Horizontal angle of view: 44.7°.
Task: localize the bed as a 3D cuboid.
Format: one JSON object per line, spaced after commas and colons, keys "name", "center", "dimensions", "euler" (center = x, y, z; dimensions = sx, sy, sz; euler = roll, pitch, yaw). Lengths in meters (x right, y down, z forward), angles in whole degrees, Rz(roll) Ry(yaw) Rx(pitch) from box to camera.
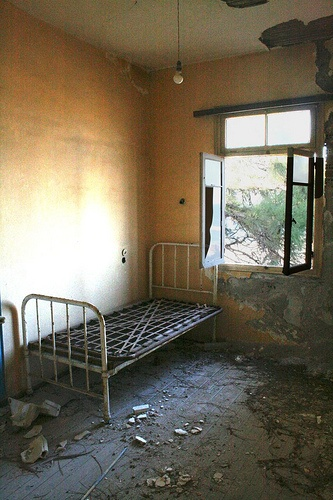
{"name": "bed", "center": [-0.308, 0.518, 3.367], "dimensions": [0.936, 0.950, 1.599], "euler": [4, 9, 30]}
